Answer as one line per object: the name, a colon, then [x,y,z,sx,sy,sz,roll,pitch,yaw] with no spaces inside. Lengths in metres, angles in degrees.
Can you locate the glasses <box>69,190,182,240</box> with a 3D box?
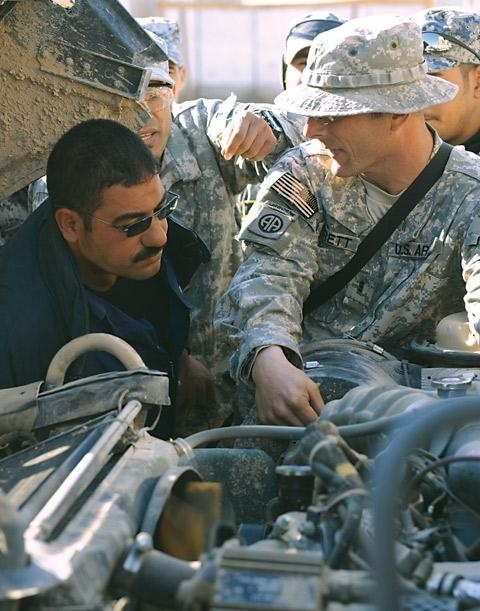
glasses: [-0.407,-0.294,2.605,0.228,0.053,0.214,2,30,40]

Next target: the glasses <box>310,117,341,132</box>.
glasses: [0.303,-0.653,2.741,0.080,0.023,0.058,5,8,39]

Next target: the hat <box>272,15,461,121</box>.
hat: [0.439,-0.787,2.706,0.518,0.199,0.538,-19,22,-41]
